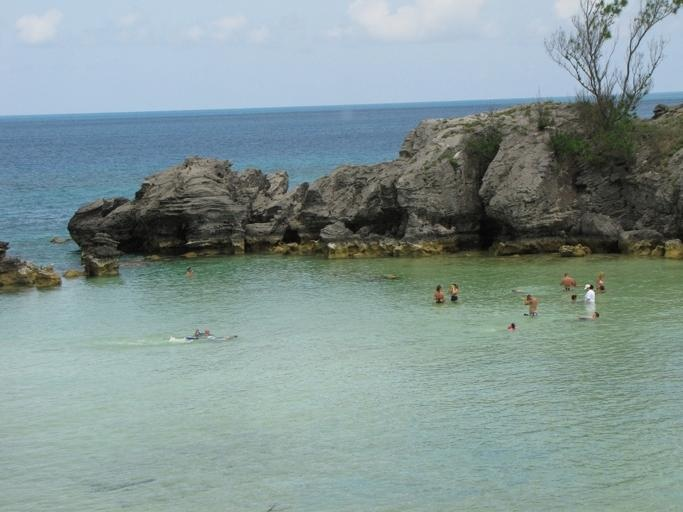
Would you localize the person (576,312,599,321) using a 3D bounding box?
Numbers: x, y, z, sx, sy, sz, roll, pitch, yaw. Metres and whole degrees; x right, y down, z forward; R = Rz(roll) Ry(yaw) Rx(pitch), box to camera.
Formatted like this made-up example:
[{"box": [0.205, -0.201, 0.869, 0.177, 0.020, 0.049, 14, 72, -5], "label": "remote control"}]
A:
[{"box": [18.544, 4.475, 59.398, 1.613, 0.462, 1.494, 0, 6, 13], "label": "person"}]
